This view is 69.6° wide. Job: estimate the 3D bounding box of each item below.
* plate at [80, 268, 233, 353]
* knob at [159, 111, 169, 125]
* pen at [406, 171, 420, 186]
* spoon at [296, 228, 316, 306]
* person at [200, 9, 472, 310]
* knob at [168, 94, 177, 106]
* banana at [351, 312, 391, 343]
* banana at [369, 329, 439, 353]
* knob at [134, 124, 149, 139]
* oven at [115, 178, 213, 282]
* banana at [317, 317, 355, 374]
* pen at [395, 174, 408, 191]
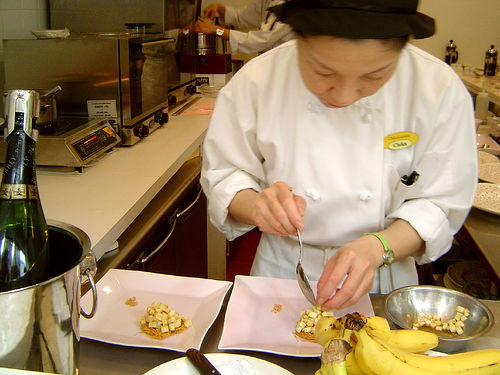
[{"bbox_3d":[-0.247,0.307,0.906,0.202,0.025,0.214,3,15,8],"label":"plate"},{"bbox_3d":[-0.532,-0.427,2.208,0.036,0.069,0.094,0,20,1],"label":"knob"},{"bbox_3d":[0.517,-0.024,1.145,0.012,0.050,0.026,23,9,-41],"label":"pen"},{"bbox_3d":[0.133,0.184,0.909,0.029,0.214,0.041,-7,-8,-24],"label":"spoon"},{"bbox_3d":[0.252,-0.066,1.162,0.671,0.888,0.667,-14,23,-32],"label":"person"},{"bbox_3d":[-0.594,-0.671,2.758,0.069,0.070,0.069,-4,32,-11],"label":"knob"},{"bbox_3d":[0.206,0.245,0.625,0.037,0.047,0.115,-7,-17,37],"label":"banana"},{"bbox_3d":[0.279,0.302,0.712,0.036,0.136,0.045,30,61,-4],"label":"banana"},{"bbox_3d":[-0.581,-0.302,1.925,0.048,0.068,0.067,6,-6,-15],"label":"knob"},{"bbox_3d":[-0.373,0.168,1.535,0.213,0.412,0.420,2,30,8],"label":"oven"},{"bbox_3d":[0.133,0.244,0.545,0.039,0.065,0.116,7,22,21],"label":"banana"},{"bbox_3d":[0.483,-0.020,1.150,0.019,0.026,0.064,20,66,17],"label":"pen"}]
